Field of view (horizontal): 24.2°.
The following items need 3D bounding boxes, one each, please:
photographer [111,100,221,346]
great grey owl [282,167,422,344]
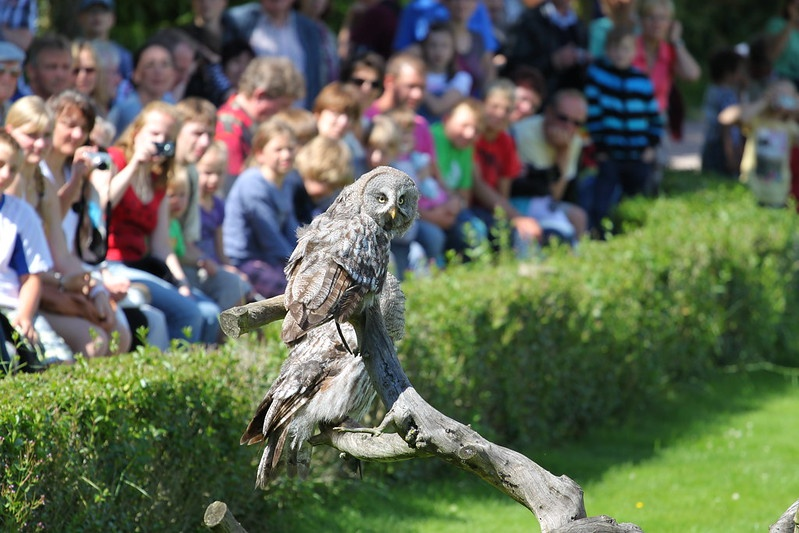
[{"bbox_3d":[-1.954,-0.349,14.732,0.717,2.257,0.627,4,4,-45],"label":"photographer"},{"bbox_3d":[-0.308,-0.066,12.596,0.569,1.506,1.107,-2,-15,11],"label":"great grey owl"}]
